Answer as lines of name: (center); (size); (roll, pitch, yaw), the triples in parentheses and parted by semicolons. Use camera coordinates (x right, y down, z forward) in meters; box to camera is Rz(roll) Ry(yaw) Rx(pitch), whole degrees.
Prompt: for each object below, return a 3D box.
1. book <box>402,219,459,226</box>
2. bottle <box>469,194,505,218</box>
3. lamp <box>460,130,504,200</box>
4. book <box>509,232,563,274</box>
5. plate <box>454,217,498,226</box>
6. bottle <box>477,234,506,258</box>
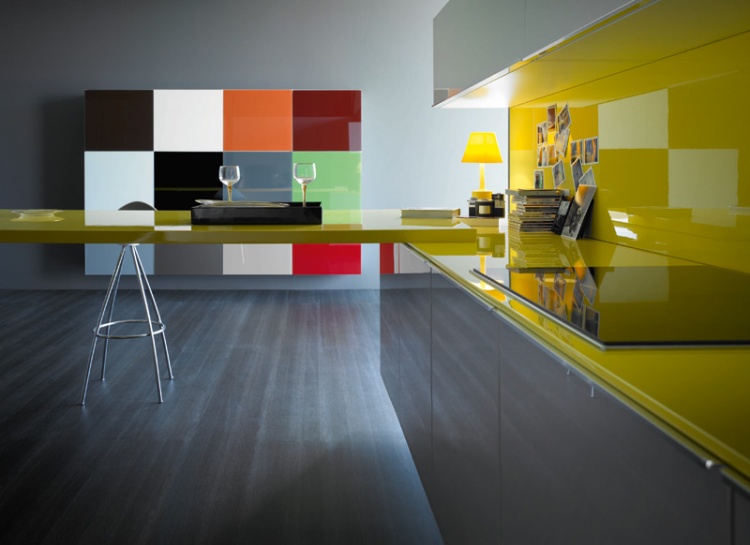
book: (0.245, -0.225, 2.401); (0.255, 0.006, 0.331); (0, 10, -3)
bottle: (0.664, -0.396, 3.172); (0.199, 0.132, 0.224); (2, 10, 11)
lamp: (0.871, -0.847, 4.333); (0.327, 0.544, 0.330); (0, 12, 10)
book: (0.623, -0.095, 2.103); (0.215, 0.015, 1.179); (4, 11, 17)
plate: (0.582, -0.282, 2.961); (0.204, 0.034, 0.444); (2, 10, 9)
bottle: (0.480, -0.124, 2.209); (0.112, 0.005, 0.767); (3, 10, 12)
